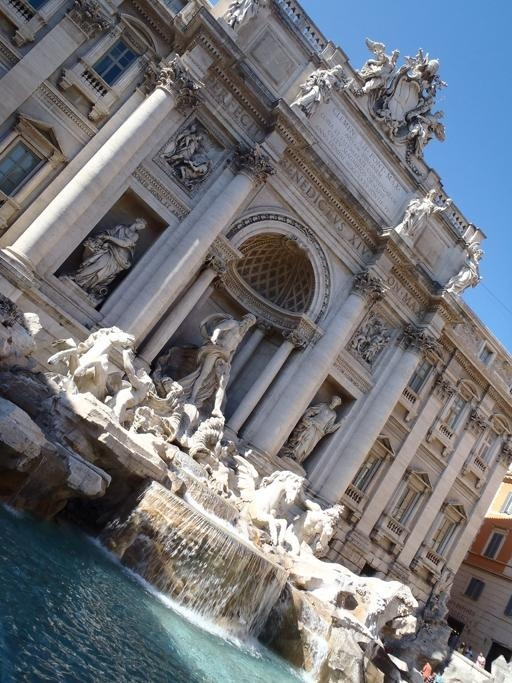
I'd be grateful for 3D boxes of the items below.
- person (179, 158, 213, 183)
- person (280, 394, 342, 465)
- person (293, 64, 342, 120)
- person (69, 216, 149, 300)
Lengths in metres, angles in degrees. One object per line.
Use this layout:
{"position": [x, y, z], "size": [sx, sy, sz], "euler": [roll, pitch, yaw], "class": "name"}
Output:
{"position": [-1.574, -4.401, 16.596], "size": [0.340, 0.756, 0.518], "euler": [12, -62, 62], "class": "person"}
{"position": [1.709, 2.605, 18.785], "size": [0.619, 1.704, 1.119], "euler": [16, -30, 50], "class": "person"}
{"position": [1.763, -7.307, 18.618], "size": [0.765, 2.455, 0.991], "euler": [-11, -51, 41], "class": "person"}
{"position": [-3.447, -2.109, 15.244], "size": [1.231, 2.260, 0.578], "euler": [47, -20, -20], "class": "person"}
